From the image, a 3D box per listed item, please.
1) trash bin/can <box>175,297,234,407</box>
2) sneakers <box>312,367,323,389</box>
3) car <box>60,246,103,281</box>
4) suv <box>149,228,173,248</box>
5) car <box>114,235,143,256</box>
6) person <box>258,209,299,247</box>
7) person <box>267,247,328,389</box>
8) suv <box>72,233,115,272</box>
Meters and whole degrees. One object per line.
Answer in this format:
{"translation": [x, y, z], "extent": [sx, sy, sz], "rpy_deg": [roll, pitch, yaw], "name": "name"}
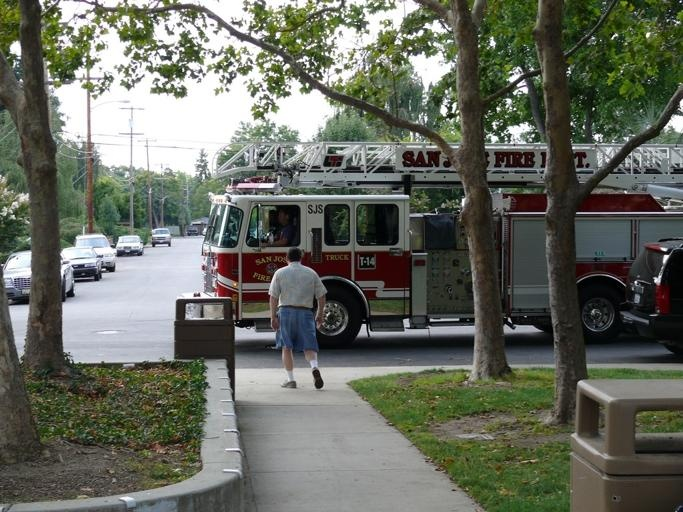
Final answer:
{"translation": [-1.764, 1.108, 11.818], "extent": [0.727, 1.149, 0.458], "rpy_deg": [-1, 4, -11], "name": "trash bin/can"}
{"translation": [-0.357, 1.779, 13.292], "extent": [0.148, 0.304, 0.145], "rpy_deg": [-12, -8, -14], "name": "sneakers"}
{"translation": [-10.207, 0.247, 36.532], "extent": [1.299, 0.954, 2.837], "rpy_deg": [0, -5, -2], "name": "car"}
{"translation": [-17.661, -1.852, 90.386], "extent": [1.568, 1.110, 3.010], "rpy_deg": [-1, -6, -8], "name": "suv"}
{"translation": [-14.792, -0.651, 64.287], "extent": [1.806, 1.366, 2.046], "rpy_deg": [-1, 3, -13], "name": "car"}
{"translation": [-1.216, -0.513, 17.386], "extent": [0.767, 0.913, 0.720], "rpy_deg": [2, -2, -2], "name": "person"}
{"translation": [-0.629, 1.037, 13.322], "extent": [0.781, 1.820, 0.368], "rpy_deg": [-1, 4, -2], "name": "person"}
{"translation": [-11.478, -0.265, 43.495], "extent": [1.402, 1.235, 2.974], "rpy_deg": [0, -2, -10], "name": "suv"}
